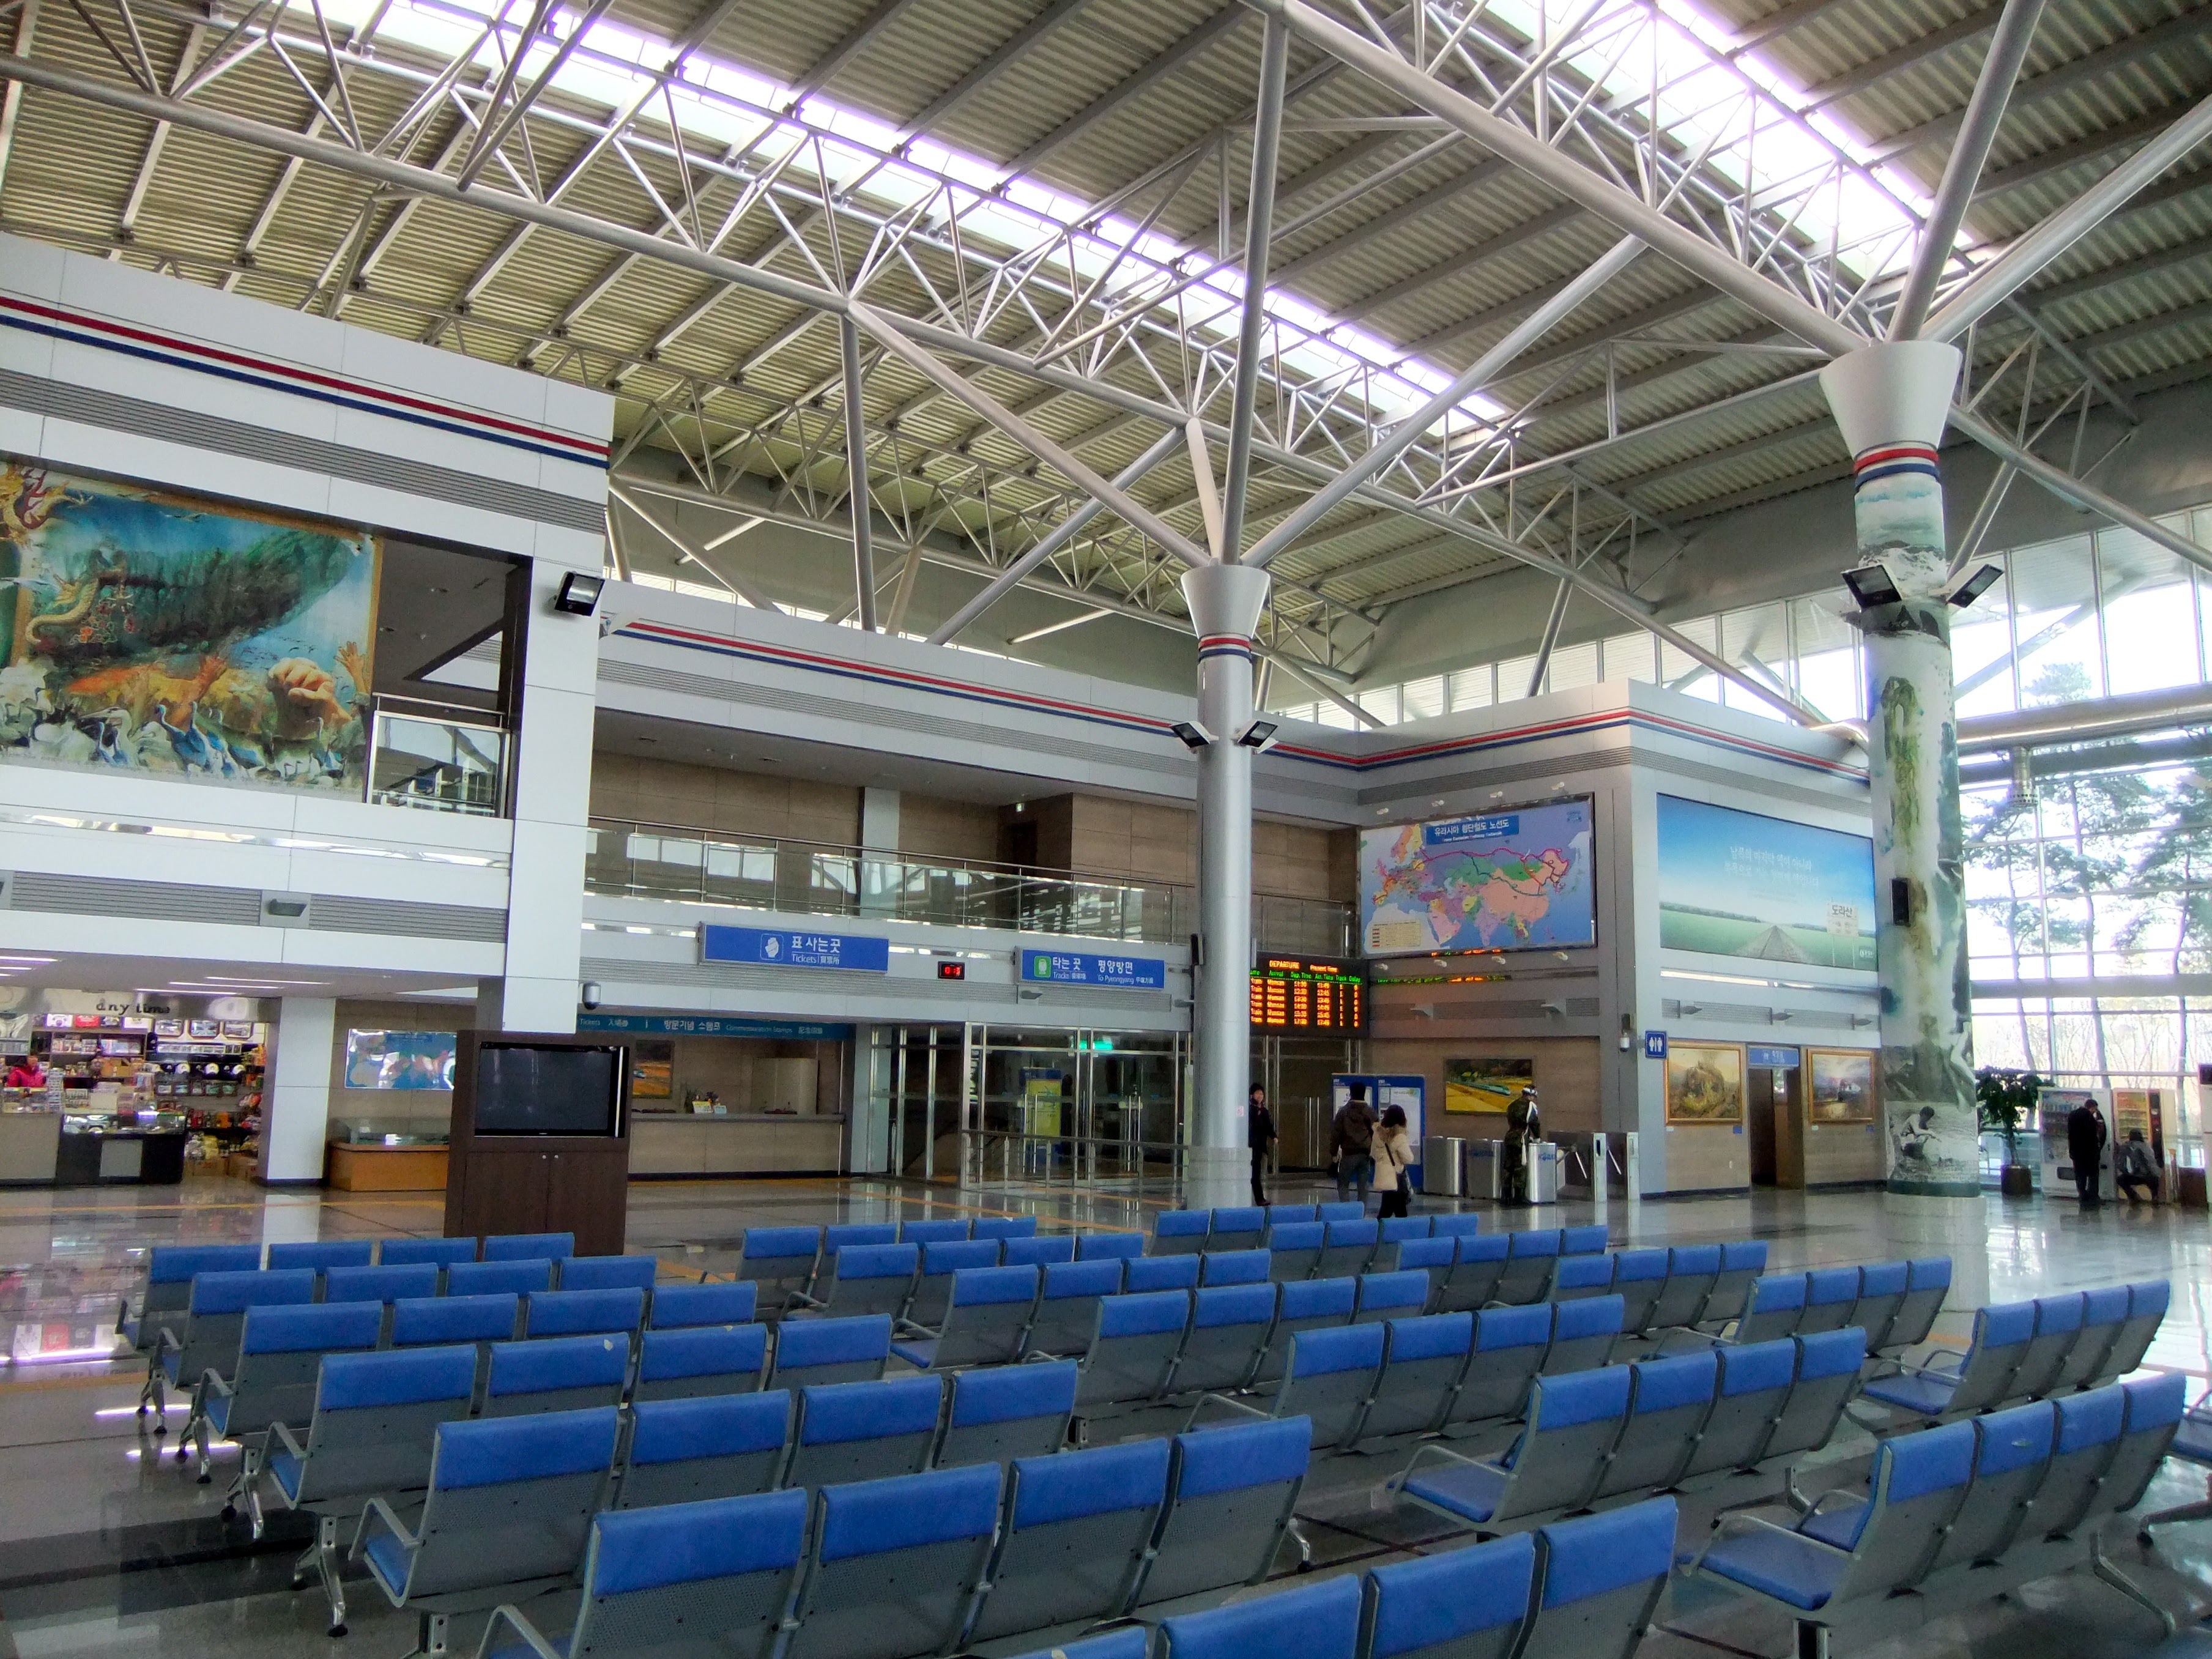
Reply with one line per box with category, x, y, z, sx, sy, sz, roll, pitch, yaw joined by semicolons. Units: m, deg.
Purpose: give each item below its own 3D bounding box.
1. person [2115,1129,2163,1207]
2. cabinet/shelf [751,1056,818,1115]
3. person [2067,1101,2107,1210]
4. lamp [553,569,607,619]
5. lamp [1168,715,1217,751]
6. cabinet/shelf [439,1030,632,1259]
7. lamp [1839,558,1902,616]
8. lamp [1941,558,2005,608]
person;17.691;5.759;27.063;0.657;1.193;0.803;-8;-10;30
cabinet/shelf;-5.756;4.728;29.456;0.836;0.986;1.760;0;-7;-17
person;16.457;5.409;26.460;0.456;1.746;1.436;-8;-10;27
lamp;-5.714;-2.593;17.169;0.412;0.508;0.491;2;-9;-26
lamp;1.208;-1.345;21.989;0.537;0.482;0.659;0;-8;-15
cabinet/shelf;-5.480;2.983;15.394;1.629;2.033;0.447;0;-10;-16
lamp;7.881;-2.486;16.247;0.515;0.559;0.352;-10;-11;42
lamp;9.239;-2.642;16.816;0.456;0.509;0.616;-7;-9;29
